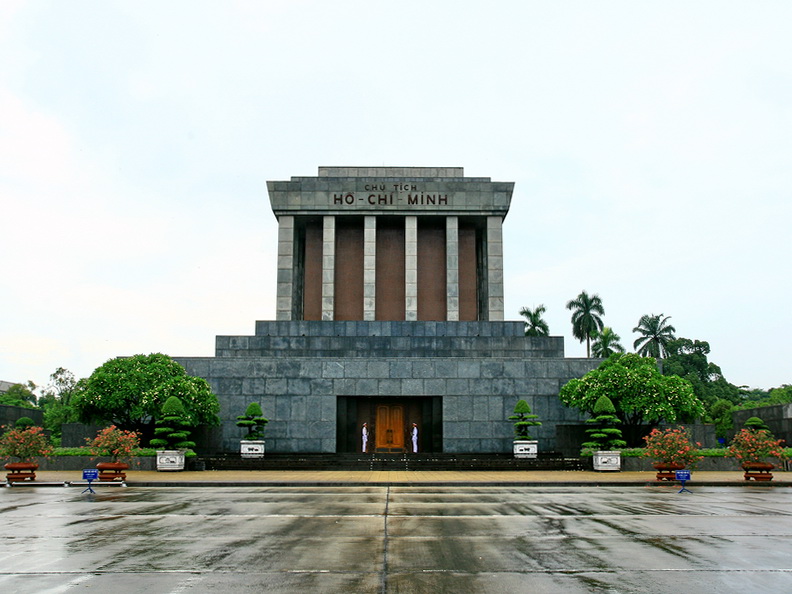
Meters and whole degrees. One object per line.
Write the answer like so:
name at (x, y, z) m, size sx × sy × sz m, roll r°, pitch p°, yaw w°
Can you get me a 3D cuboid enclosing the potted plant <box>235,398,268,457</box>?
potted plant at (-8.148, 7.420, 47.689) m, size 1.780 × 3.120 × 1.548 m, roll 5°, pitch -10°, yaw -26°
